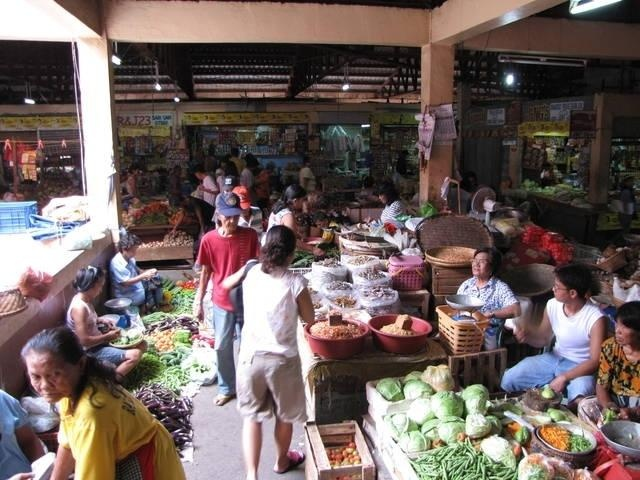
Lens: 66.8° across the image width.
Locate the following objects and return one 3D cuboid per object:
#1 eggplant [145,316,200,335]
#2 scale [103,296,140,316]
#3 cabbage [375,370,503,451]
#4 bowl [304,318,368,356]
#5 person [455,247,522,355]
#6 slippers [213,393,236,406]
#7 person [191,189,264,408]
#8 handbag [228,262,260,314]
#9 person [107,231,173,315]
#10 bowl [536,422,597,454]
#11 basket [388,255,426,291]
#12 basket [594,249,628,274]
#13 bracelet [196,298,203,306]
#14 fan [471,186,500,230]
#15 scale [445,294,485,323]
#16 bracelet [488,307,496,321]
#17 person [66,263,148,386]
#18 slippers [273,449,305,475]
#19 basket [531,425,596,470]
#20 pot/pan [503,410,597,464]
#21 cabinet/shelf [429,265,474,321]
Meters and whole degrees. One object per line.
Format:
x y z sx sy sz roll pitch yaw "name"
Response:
-1.862 1.081 6.083 0.396 0.165 0.393 -2 3 -22 "eggplant"
-2.436 0.860 5.872 0.302 0.093 0.307 5 13 12 "scale"
0.863 1.309 3.710 0.810 0.499 0.598 -1 14 -17 "cabbage"
0.156 0.847 4.205 0.563 0.285 0.377 -3 12 -2 "bowl"
1.646 0.543 4.671 0.444 1.226 0.448 1 3 31 "person"
-0.955 1.583 4.833 0.071 0.080 0.198 7 2 41 "slippers"
-0.978 0.521 4.915 0.742 1.947 0.678 -2 16 -16 "person"
-0.626 0.433 4.379 0.316 0.524 0.343 1 16 -24 "handbag"
-2.388 0.477 6.341 0.619 1.085 0.682 7 11 3 "person"
1.708 1.372 3.338 0.355 0.071 0.357 -5 11 1 "bowl"
0.979 0.377 5.512 0.392 0.356 0.293 -3 12 -4 "basket"
3.596 0.216 5.949 0.309 0.134 0.270 -27 -3 -28 "basket"
-1.200 0.618 4.837 0.052 0.059 0.058 0 0 -40 "bracelet"
2.444 -0.503 7.247 0.376 0.575 0.728 2 13 18 "fan"
1.256 0.583 4.211 0.243 0.131 0.250 5 14 37 "scale"
1.593 0.702 4.504 0.037 0.079 0.106 -6 3 15 "bracelet"
-2.056 0.796 4.662 0.847 1.464 0.698 -6 21 -21 "person"
-0.247 1.820 4.004 0.108 0.115 0.287 18 19 32 "slippers"
1.703 1.425 3.376 0.383 0.181 0.342 -11 15 -36 "basket"
1.636 1.346 3.498 0.581 0.187 0.549 -11 14 -29 "pot/pan"
1.421 0.597 5.583 0.553 0.559 0.437 -1 6 -2 "cabinet/shelf"
